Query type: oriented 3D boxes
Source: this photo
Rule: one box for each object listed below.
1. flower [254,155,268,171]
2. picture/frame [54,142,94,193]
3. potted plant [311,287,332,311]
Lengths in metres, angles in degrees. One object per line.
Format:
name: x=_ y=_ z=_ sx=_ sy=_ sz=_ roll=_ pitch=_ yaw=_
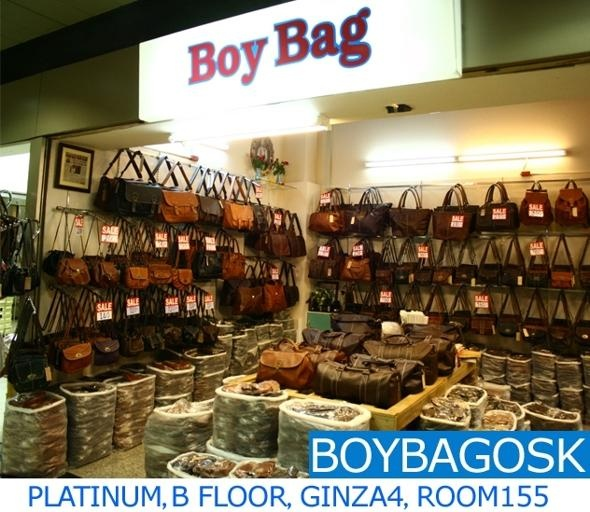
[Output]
flower: x=-0.455 y=-1.291 z=6.341 sx=0.212 sy=0.141 sz=0.190 roll=9 pitch=10 yaw=34
picture/frame: x=-1.957 y=-0.786 z=4.015 sx=0.037 sy=0.464 sz=0.471 roll=10 pitch=3 yaw=35
potted plant: x=0.360 y=0.588 z=6.435 sx=0.358 sy=0.304 sz=0.303 roll=0 pitch=-6 yaw=19
